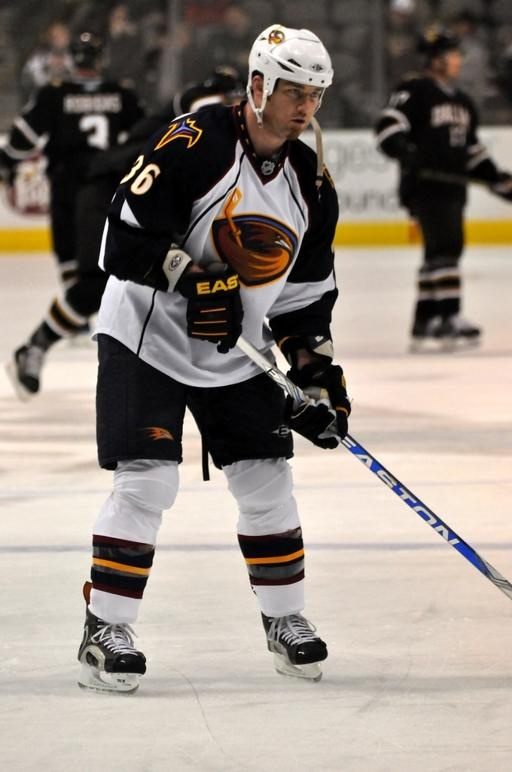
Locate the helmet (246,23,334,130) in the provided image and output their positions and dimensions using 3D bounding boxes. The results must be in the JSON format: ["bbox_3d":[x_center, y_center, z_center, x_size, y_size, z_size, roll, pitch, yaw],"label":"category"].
[{"bbox_3d":[0.057,-0.566,1.521,0.143,0.223,0.243,1,7,-1],"label":"helmet"}]

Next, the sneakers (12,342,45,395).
[{"bbox_3d":[-1.222,-0.080,4.549,0.175,0.302,0.263,-1,7,-11],"label":"sneakers"}]

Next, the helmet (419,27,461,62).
[{"bbox_3d":[1.274,-2.405,5.941,0.256,0.285,0.312,2,7,10],"label":"helmet"}]

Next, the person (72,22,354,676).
[{"bbox_3d":[-0.068,-0.070,1.566,0.509,1.182,0.417,0,8,-5],"label":"person"}]

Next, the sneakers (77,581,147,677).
[{"bbox_3d":[-0.252,0.446,1.472,0.104,0.083,0.121,-1,7,-13],"label":"sneakers"}]

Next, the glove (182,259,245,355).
[{"bbox_3d":[-0.075,-0.139,1.455,0.162,0.141,0.111,0,7,-4],"label":"glove"}]
